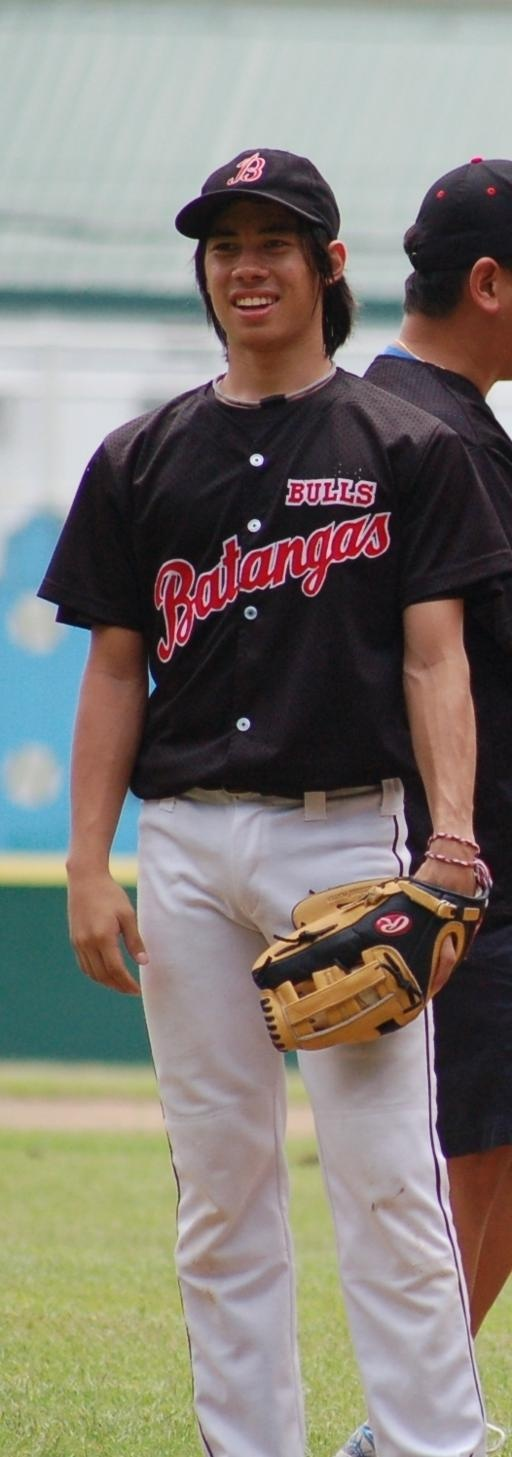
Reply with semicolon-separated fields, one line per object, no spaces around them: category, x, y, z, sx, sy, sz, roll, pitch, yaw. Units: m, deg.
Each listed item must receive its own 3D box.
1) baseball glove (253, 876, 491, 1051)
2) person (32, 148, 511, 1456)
baseball glove;0.139;0.293;1.818;0.300;0.171;0.252;-6;-18;-21
person;0.001;0.100;1.935;0.667;1.543;0.330;-2;-1;40
